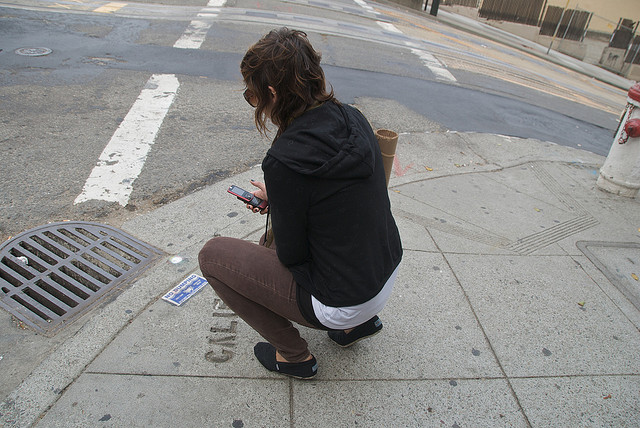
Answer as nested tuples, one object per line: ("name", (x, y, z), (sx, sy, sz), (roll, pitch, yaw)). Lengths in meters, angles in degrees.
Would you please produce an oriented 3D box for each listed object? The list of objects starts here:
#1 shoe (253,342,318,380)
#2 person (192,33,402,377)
("shoe", (-0.310, 1.200, 3.288), (0.568, 0.168, 0.227), (14, 35, 8))
("person", (-0.089, 0.093, 2.905), (1.306, 2.452, 0.979), (25, 38, 25))
